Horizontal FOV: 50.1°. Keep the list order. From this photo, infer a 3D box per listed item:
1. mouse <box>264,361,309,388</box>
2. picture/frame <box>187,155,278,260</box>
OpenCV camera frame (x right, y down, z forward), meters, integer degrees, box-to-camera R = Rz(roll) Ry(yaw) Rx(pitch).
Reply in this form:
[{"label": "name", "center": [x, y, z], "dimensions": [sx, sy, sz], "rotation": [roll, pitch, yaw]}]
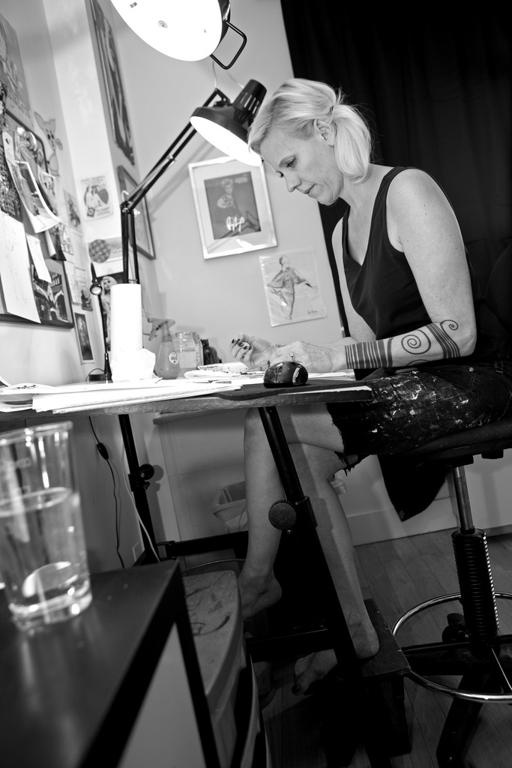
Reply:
[{"label": "mouse", "center": [0.039, -0.016, 0.784], "dimensions": [0.037, 0.030, 0.049], "rotation": [3, 7, 44]}, {"label": "picture/frame", "center": [-0.086, -0.779, 2.401], "dimensions": [0.349, 0.469, 0.031], "rotation": [-12, -1, -4]}]
